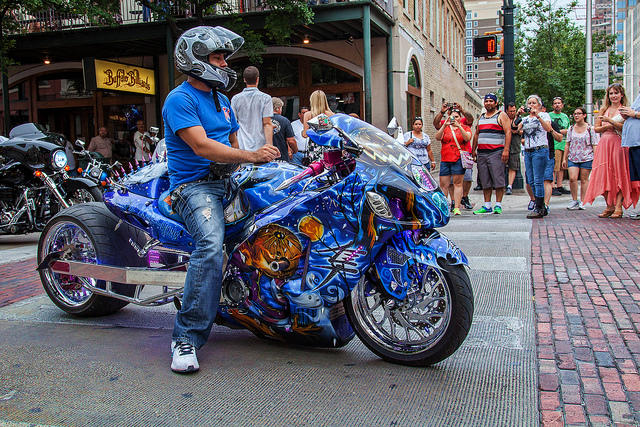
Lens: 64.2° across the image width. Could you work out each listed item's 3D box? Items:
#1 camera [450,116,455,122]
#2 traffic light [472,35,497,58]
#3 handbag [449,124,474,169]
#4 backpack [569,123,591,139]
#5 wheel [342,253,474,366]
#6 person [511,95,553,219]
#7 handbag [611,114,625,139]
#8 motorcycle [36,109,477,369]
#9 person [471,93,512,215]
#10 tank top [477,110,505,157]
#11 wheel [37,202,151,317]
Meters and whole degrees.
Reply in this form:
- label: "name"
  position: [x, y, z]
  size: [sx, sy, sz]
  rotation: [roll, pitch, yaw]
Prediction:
- label: "camera"
  position: [2.855, -2.053, 11.077]
  size: [0.077, 0.122, 0.176]
  rotation: [5, 13, 32]
- label: "traffic light"
  position: [4.916, -5.028, 15.360]
  size: [0.792, 0.790, 0.328]
  rotation: [0, 0, 18]
- label: "handbag"
  position: [3.078, -1.377, 11.056]
  size: [0.250, 0.784, 0.413]
  rotation: [-15, 3, 6]
- label: "backpack"
  position: [5.902, -1.911, 11.675]
  size: [0.277, 0.442, 0.389]
  rotation: [5, 13, 6]
- label: "wheel"
  position: [0.683, 0.746, 4.041]
  size: [0.818, 0.951, 0.177]
  rotation: [0, 9, 25]
- label: "person"
  position: [4.344, -1.201, 10.633]
  size: [0.788, 2.468, 1.394]
  rotation: [2, 11, 21]
- label: "handbag"
  position: [5.735, -1.713, 9.887]
  size: [0.258, 0.377, 0.126]
  rotation: [-16, 9, -42]
- label: "motorcycle"
  position: [-0.578, 0.162, 4.529]
  size: [3.683, 2.026, 0.754]
  rotation: [1, 10, 15]
- label: "person"
  position: [3.708, -1.295, 11.179]
  size: [0.800, 2.595, 1.034]
  rotation: [1, 10, 17]
- label: "tank top"
  position: [3.678, -1.724, 11.129]
  size: [0.529, 1.026, 0.663]
  rotation: [7, -4, -44]
- label: "wheel"
  position: [-2.504, 0.483, 5.431]
  size: [1.028, 1.118, 0.486]
  rotation: [29, 17, 23]
